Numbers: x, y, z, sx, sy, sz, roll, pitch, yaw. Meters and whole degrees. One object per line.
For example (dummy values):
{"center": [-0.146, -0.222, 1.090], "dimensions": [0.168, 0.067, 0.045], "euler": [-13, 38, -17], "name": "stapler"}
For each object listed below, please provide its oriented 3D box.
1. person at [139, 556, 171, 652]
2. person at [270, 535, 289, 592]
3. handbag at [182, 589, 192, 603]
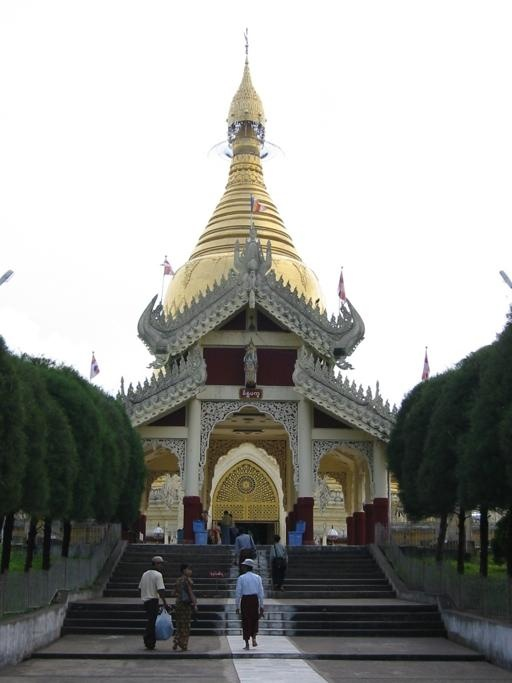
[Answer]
{"center": [-1.257, 3.136, 9.988], "dimensions": [0.327, 1.090, 1.226], "euler": [3, -19, -5], "name": "person"}
{"center": [0.445, 4.019, 15.242], "dimensions": [0.296, 1.015, 0.274], "euler": [2, 13, 14], "name": "person"}
{"center": [-0.801, 2.936, 9.584], "dimensions": [0.100, 0.208, 0.108], "euler": [-3, -8, 6], "name": "handbag"}
